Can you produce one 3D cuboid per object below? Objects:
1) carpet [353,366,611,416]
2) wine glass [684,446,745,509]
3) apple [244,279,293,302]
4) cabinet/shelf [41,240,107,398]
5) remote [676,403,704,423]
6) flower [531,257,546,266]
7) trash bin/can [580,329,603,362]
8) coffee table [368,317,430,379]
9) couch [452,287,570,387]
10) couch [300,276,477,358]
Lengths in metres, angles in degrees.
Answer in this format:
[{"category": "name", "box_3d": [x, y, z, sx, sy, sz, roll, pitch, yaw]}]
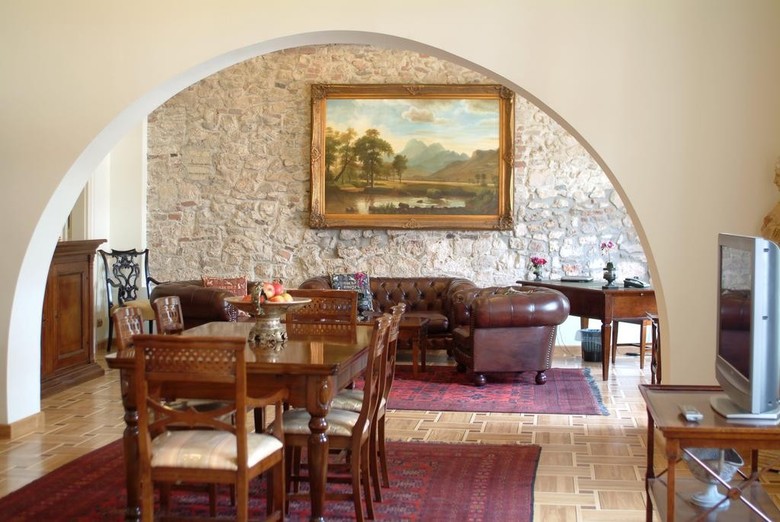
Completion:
[{"category": "carpet", "box_3d": [1.151, 1.529, 6.662, 2.579, 0.071, 2.862, -2, -2, 23]}, {"category": "wine glass", "box_3d": [1.721, 1.173, 3.028, 0.329, 0.266, 0.334, 1, -17, 28]}, {"category": "apple", "box_3d": [-0.791, 0.203, 3.580, 0.260, 0.112, 0.192, -5, -5, 8]}, {"category": "cabinet/shelf", "box_3d": [-3.576, 0.599, 6.287, 0.301, 1.653, 0.971, -1, 3, 0]}, {"category": "remote", "box_3d": [1.494, 0.760, 2.791, 0.052, 0.033, 0.154, 0, 0, 13]}, {"category": "flower", "box_3d": [2.091, -0.002, 7.889, 0.147, 0.074, 0.150, -6, -12, 36]}, {"category": "trash bin/can", "box_3d": [2.879, 1.167, 7.746, 0.370, 0.370, 0.344, 0, -8, -7]}, {"category": "coffee table", "box_3d": [0.121, 1.088, 7.121, 0.786, 0.679, 0.580, -1, -5, 7]}, {"category": "couch", "box_3d": [1.531, 0.889, 7.103, 1.387, 1.019, 1.755, -1, 1, 9]}, {"category": "couch", "box_3d": [0.082, 0.783, 8.070, 2.263, 0.947, 0.881, -1, 12, 0]}]
